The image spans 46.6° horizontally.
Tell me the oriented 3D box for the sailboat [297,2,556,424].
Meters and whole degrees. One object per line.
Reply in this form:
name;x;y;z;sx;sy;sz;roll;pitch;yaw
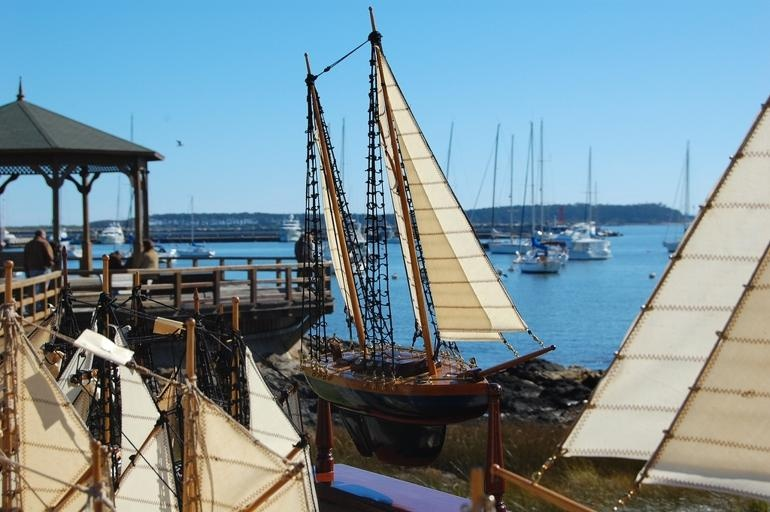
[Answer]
sailboat;0.696;-0.730;20.031;7.666;8.839;2.236;2;5;45
